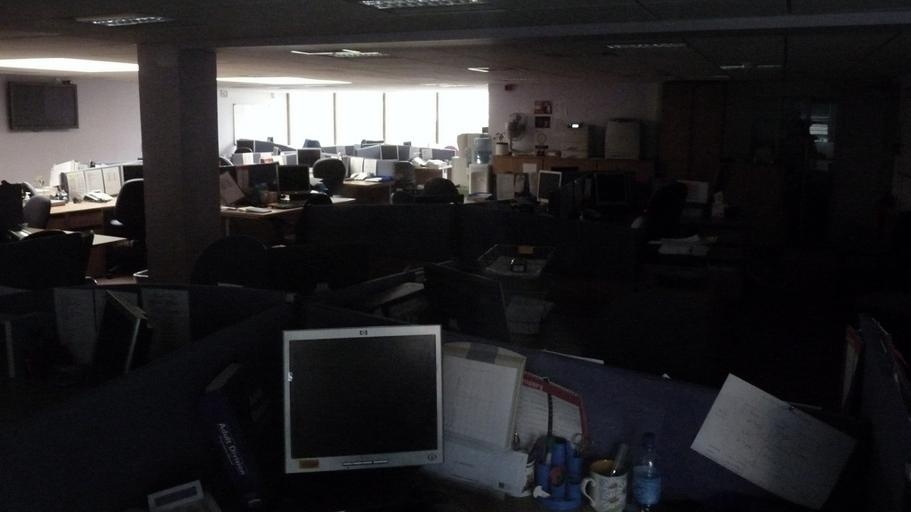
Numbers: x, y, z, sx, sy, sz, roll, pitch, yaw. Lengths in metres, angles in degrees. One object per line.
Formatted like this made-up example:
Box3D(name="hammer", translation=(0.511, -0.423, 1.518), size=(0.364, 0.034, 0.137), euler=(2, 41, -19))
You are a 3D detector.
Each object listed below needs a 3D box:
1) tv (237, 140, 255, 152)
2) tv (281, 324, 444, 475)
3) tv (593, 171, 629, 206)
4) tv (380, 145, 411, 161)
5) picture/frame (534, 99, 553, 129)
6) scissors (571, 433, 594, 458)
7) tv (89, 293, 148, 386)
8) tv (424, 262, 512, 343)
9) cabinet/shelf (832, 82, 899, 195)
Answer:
Box3D(name="tv", translation=(-4.666, -2.457, 13.927), size=(0.386, 0.252, 1.739), euler=(-3, 10, -19))
Box3D(name="tv", translation=(-0.507, 0.758, 3.301), size=(0.920, 0.653, 0.065), euler=(-1, -3, -2))
Box3D(name="tv", translation=(2.114, -0.945, 8.790), size=(0.611, 0.474, 0.272), euler=(-2, 1, -17))
Box3D(name="tv", translation=(-1.283, -2.169, 13.166), size=(0.512, 0.266, 0.479), euler=(3, 7, 18))
Box3D(name="picture/frame", translation=(1.610, -2.608, 11.561), size=(0.407, 0.505, 0.144), euler=(8, 13, 35))
Box3D(name="scissors", translation=(0.664, 0.987, 3.284), size=(0.109, 0.128, 0.056), euler=(-5, 4, 16))
Box3D(name="tv", translation=(-1.739, 0.453, 3.312), size=(0.401, 0.331, 0.128), euler=(15, 3, 38))
Box3D(name="tv", translation=(0.154, 0.235, 4.536), size=(0.539, 0.657, 0.593), euler=(13, 25, 30))
Box3D(name="cabinet/shelf", translation=(9.349, -2.620, 13.981), size=(1.597, 2.524, 1.364), euler=(0, 4, 18))
